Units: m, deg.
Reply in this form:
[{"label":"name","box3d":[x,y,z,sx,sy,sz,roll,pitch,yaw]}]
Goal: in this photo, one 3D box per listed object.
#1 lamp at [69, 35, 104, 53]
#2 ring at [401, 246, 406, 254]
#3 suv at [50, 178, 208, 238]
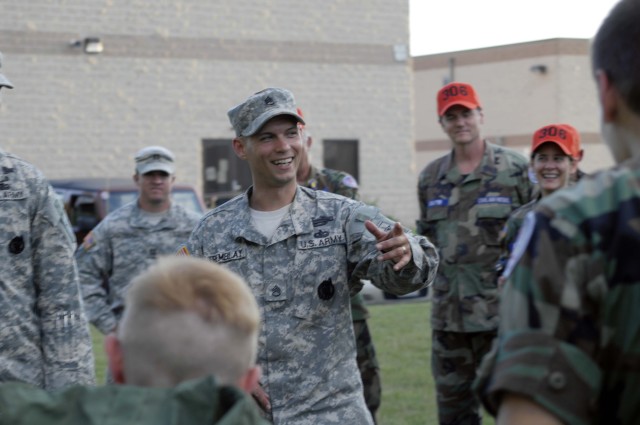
[{"label":"lamp","box3d":[-4.417,-3.192,23.439,0.317,0.248,0.502,-2,19,-17]},{"label":"ring","box3d":[0.792,0.330,11.512,0.050,0.051,0.015,-2,-2,-38]},{"label":"suv","box3d":[-2.962,-0.195,18.576,1.897,0.904,1.195,-1,1,29]}]
